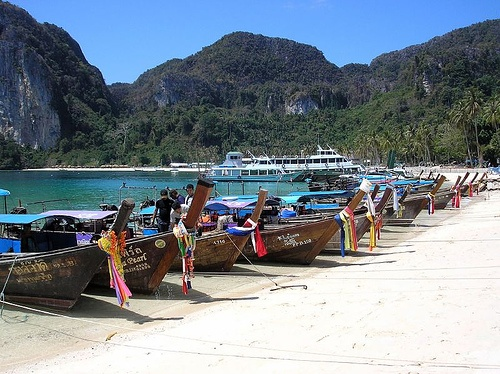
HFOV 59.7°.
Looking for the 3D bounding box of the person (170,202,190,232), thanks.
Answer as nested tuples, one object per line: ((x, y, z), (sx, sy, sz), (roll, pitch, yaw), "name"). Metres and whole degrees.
((-1.676, 0.737, 10.437), (0.411, 0.339, 0.757), (-30, -17, 15), "person")

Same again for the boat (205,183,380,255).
((1.600, 1.272, 13.724), (1.605, 2.308, 5.044), (3, -11, -39), "boat")

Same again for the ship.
((4.557, -2.350, 57.314), (17.957, 3.277, 5.320), (-2, 4, 16), "ship")
